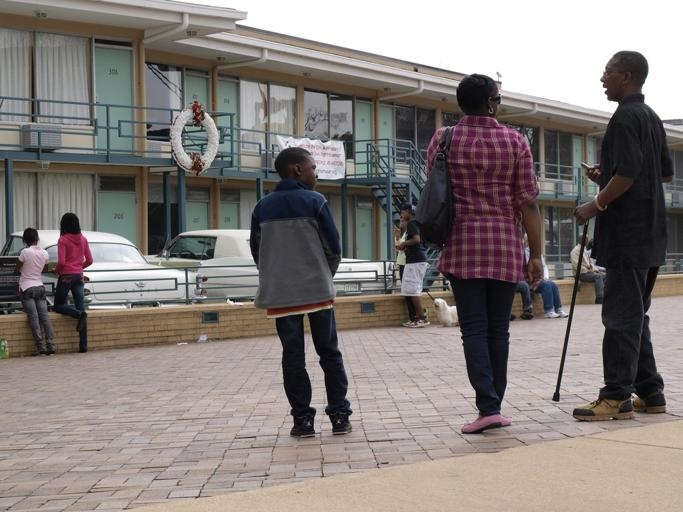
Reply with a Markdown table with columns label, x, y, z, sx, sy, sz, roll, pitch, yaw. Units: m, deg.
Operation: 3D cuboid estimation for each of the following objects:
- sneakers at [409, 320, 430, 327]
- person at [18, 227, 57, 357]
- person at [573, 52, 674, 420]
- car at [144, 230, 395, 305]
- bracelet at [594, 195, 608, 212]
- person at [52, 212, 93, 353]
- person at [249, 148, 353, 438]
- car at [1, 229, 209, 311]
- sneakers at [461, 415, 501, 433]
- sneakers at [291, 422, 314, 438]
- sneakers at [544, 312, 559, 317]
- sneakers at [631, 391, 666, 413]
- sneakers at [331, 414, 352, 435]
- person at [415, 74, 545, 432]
| label | x | y | z | sx | sy | sz | roll | pitch | yaw |
| --- | --- | --- | --- | --- | --- | --- | --- | --- | --- |
| sneakers | 1.509 | 1.283 | 13.805 | 0.362 | 0.130 | 0.122 | 3 | 0 | -14 |
| person | -4.647 | 0.537 | 11.037 | 0.438 | 1.909 | 0.521 | -5 | 5 | -21 |
| person | 2.145 | -0.162 | 5.542 | 0.600 | 2.824 | 0.824 | 0 | 6 | 32 |
| car | -2.337 | 0.191 | 14.377 | 3.481 | 0.943 | 2.152 | 5 | 6 | 41 |
| bracelet | 1.972 | -0.402 | 5.517 | 0.090 | 0.126 | 0.192 | -1 | 5 | 23 |
| person | -4.184 | 0.409 | 11.303 | 0.602 | 2.154 | 0.560 | -4 | 5 | -2 |
| person | -0.328 | 0.263 | 5.691 | 0.703 | 2.250 | 0.583 | -4 | 5 | -2 |
| car | -4.200 | 0.305 | 13.223 | 1.767 | 0.929 | 2.851 | -1 | 5 | -40 |
| sneakers | 1.031 | 1.226 | 5.349 | 0.361 | 0.138 | 0.113 | -6 | 2 | 12 |
| sneakers | -0.284 | 1.325 | 5.527 | 0.084 | 0.086 | 0.221 | 3 | -11 | -29 |
| sneakers | 4.326 | 1.180 | 14.842 | 0.265 | 0.130 | 0.256 | -1 | 5 | 15 |
| sneakers | 2.433 | 1.150 | 5.765 | 0.142 | 0.128 | 0.307 | -2 | 3 | -9 |
| sneakers | 0.002 | 1.286 | 5.596 | 0.152 | 0.149 | 0.141 | -3 | 5 | 3 |
| person | 1.040 | -0.048 | 5.431 | 0.891 | 2.664 | 0.611 | -2 | 5 | 13 |
